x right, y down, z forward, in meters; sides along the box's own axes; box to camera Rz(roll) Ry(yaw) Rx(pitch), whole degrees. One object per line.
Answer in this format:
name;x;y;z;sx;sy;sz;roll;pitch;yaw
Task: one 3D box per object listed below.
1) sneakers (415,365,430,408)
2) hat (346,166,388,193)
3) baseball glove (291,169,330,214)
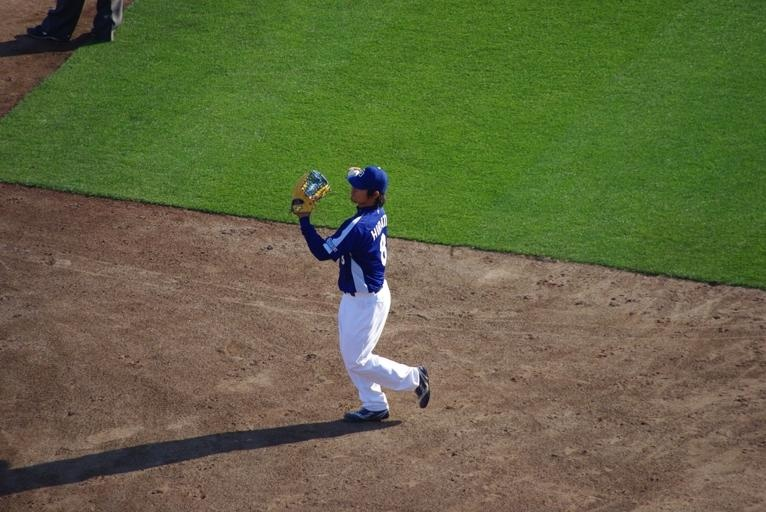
sneakers;0.572;1.840;13.399;0.273;0.554;0.211;-9;23;-11
hat;-0.189;-1.043;12.825;0.511;0.251;0.312;19;36;-10
baseball glove;-0.973;-0.915;12.824;0.374;0.529;0.675;26;35;16
